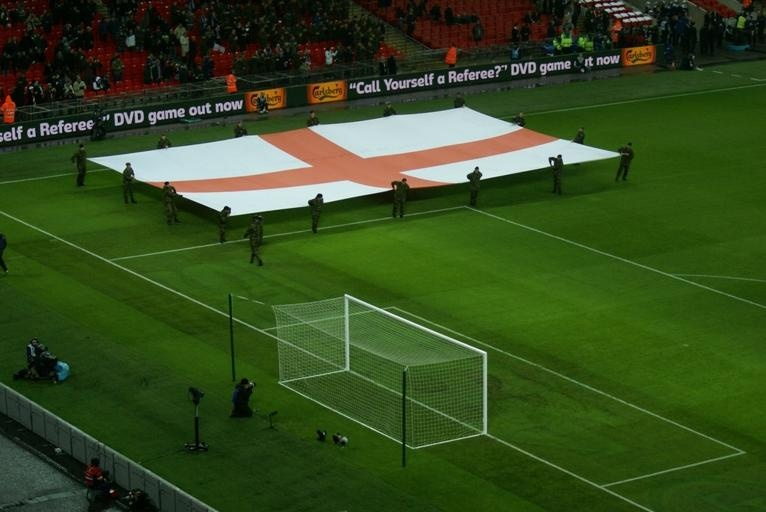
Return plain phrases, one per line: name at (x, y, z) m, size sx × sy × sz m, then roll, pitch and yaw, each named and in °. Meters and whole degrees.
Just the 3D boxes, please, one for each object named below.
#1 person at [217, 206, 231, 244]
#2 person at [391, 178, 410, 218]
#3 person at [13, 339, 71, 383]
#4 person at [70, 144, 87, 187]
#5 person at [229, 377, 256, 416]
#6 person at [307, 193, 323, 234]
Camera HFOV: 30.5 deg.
person at (-6.901, -1.326, 61.200) m, size 0.595 × 1.507 × 1.287 m, roll -10°, pitch 25°, yaw -23°
person at (0.778, -2.655, 64.037) m, size 0.805 × 1.749 × 1.201 m, roll -4°, pitch 16°, yaw 1°
person at (-12.346, 3.939, 51.068) m, size 1.897 × 0.786 × 1.463 m, roll 28°, pitch 39°, yaw 27°
person at (-14.541, -4.220, 67.305) m, size 0.759 × 2.067 × 1.466 m, roll -14°, pitch 41°, yaw -25°
person at (-4.938, 4.814, 49.473) m, size 0.927 × 1.428 × 0.977 m, roll -6°, pitch 17°, yaw -5°
person at (-2.940, -1.964, 62.543) m, size 0.698 × 1.731 × 1.559 m, roll -5°, pitch 16°, yaw -1°
